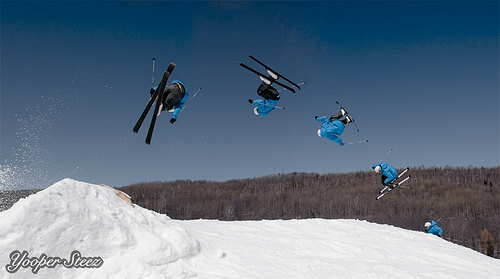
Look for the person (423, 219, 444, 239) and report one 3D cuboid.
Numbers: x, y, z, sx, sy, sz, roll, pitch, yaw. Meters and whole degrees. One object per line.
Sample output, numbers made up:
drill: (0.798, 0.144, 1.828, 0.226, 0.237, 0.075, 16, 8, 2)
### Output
person: (13.740, 6.775, 35.135, 2.296, 0.836, 0.879, 26, -37, -29)
